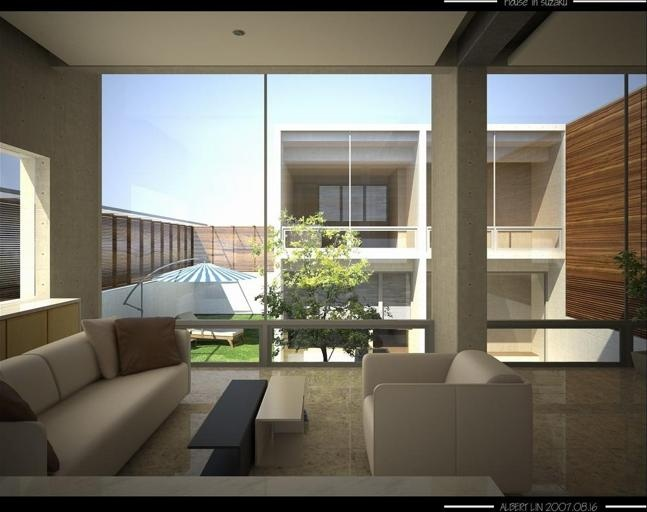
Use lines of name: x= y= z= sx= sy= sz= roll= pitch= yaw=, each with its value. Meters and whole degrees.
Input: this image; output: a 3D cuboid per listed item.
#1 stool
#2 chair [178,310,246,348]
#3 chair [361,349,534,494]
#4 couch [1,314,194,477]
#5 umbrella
stool: x=-0.541 y=1.381 z=3.989 sx=0.689 sy=0.483 sz=1.171 roll=2 pitch=2 yaw=3
chair: x=-1.336 y=0.896 z=6.243 sx=0.635 sy=0.290 sz=0.406 roll=-1 pitch=0 yaw=8
chair: x=0.913 y=1.181 z=3.788 sx=0.886 sy=0.747 sz=1.258 roll=1 pitch=-6 yaw=5
couch: x=-1.789 y=1.096 z=4.027 sx=0.924 sy=0.981 sz=1.747 roll=2 pitch=2 yaw=3
umbrella: x=-1.622 y=0.272 z=6.409 sx=1.076 sy=0.531 sz=0.863 roll=-2 pitch=-2 yaw=-11
